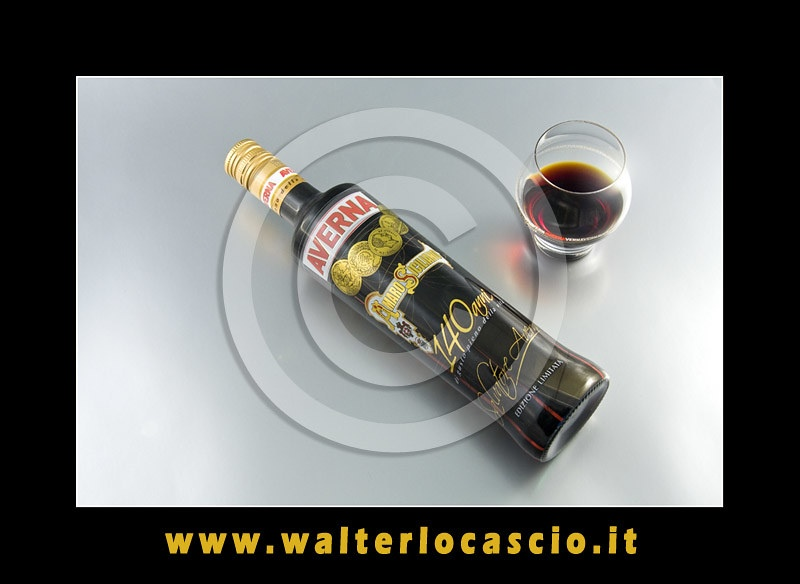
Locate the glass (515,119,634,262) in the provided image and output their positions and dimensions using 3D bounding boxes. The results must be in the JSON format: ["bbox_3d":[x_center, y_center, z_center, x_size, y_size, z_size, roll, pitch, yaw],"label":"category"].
[{"bbox_3d":[0.269,-0.162,1.175,0.169,0.193,0.223,3,79,6],"label":"glass"}]

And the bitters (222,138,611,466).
[{"bbox_3d":[0.029,0.039,1.147,0.568,0.159,0.157,42,66,11],"label":"bitters"}]

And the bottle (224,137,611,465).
[{"bbox_3d":[0.031,0.038,1.147,0.568,0.160,0.157,42,66,12],"label":"bottle"}]
